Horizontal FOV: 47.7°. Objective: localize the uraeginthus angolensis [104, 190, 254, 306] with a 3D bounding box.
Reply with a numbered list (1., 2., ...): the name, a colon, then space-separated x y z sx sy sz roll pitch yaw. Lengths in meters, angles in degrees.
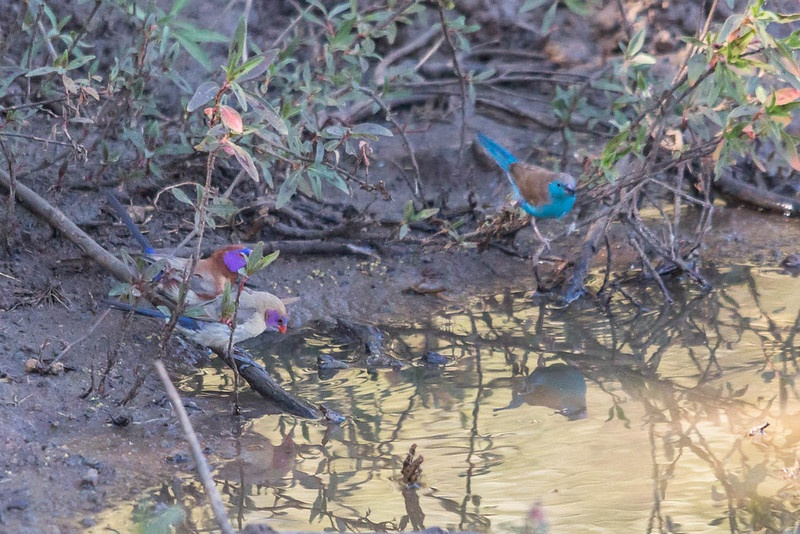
1. uraeginthus angolensis: -1.863 -0.034 7.171 0.489 1.265 0.757 31 100 50
